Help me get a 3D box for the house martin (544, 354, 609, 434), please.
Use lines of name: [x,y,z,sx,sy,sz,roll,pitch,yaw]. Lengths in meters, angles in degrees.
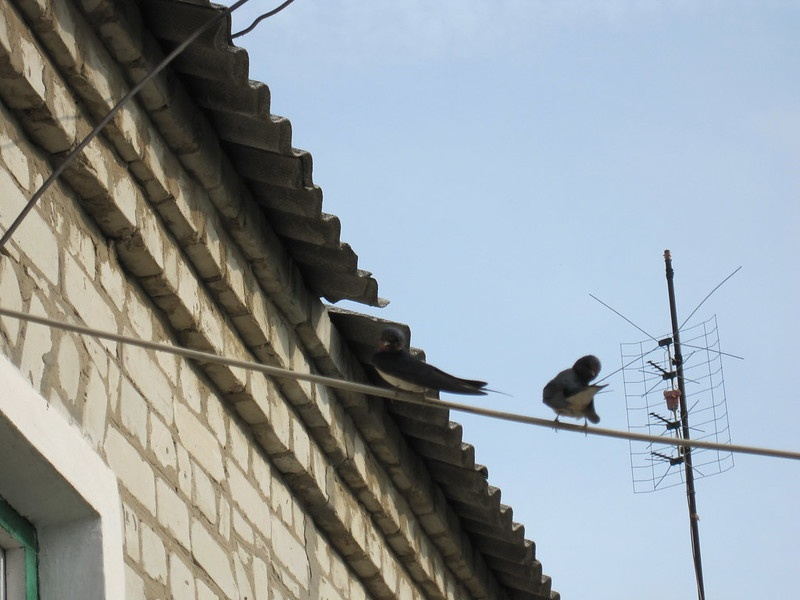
house martin: [0.895,0.452,12.417,0.229,0.374,0.402,24,-20,-36]
